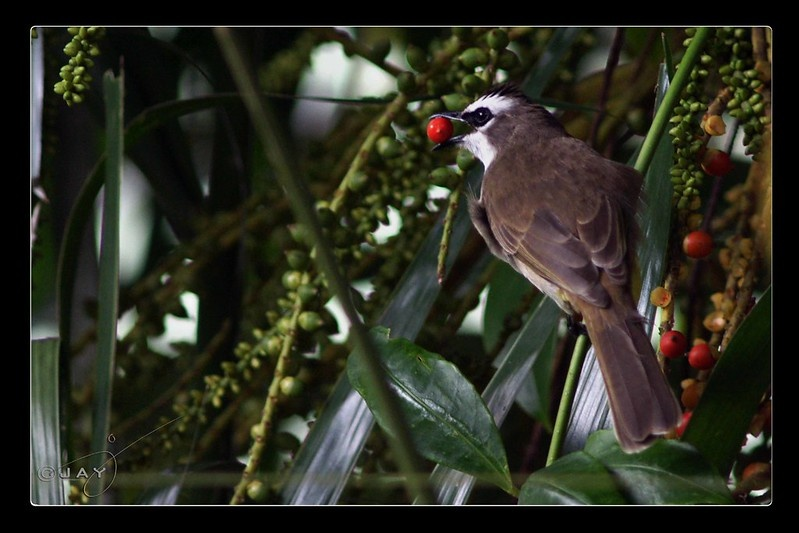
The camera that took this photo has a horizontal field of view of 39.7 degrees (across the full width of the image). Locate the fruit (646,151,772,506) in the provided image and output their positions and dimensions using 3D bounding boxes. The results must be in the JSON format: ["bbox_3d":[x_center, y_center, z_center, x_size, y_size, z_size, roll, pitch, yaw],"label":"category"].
[{"bbox_3d":[0.749,0.136,2.634,0.253,0.763,0.284,0,-24,13],"label":"fruit"}]

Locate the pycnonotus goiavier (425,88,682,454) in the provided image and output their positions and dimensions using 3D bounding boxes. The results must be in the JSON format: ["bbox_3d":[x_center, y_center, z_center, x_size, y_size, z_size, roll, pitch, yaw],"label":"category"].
[{"bbox_3d":[0.391,-0.076,2.861,0.503,1.092,0.396,32,-68,-36],"label":"pycnonotus goiavier"}]

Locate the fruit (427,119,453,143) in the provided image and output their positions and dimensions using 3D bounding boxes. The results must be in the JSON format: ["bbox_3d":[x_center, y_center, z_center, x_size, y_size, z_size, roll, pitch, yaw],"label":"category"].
[{"bbox_3d":[0.102,-0.325,2.725,0.057,0.056,0.058,-7,2,11],"label":"fruit"}]
